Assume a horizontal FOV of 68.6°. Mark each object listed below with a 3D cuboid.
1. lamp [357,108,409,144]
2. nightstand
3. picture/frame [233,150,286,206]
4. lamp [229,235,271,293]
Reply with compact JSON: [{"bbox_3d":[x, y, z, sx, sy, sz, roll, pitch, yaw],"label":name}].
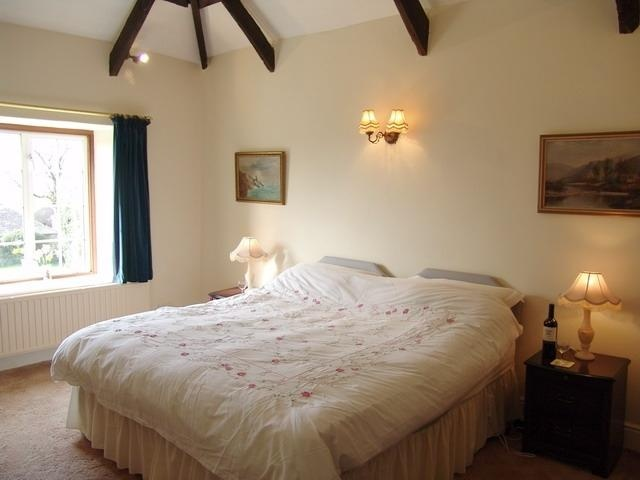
[{"bbox_3d":[0.624,-1.100,4.570,0.460,0.329,0.309,4,13,17],"label":"lamp"},{"bbox_3d":[1.905,1.234,3.821,0.809,1.057,0.754,2,2,39],"label":"nightstand"},{"bbox_3d":[-0.739,-0.744,5.600,0.054,0.599,0.738,6,9,43],"label":"picture/frame"},{"bbox_3d":[-0.823,0.249,5.558,0.429,0.531,0.427,-9,15,-43],"label":"lamp"}]
